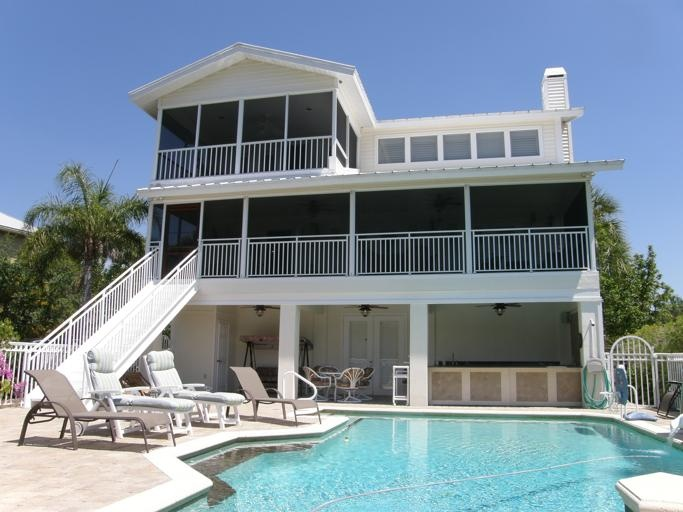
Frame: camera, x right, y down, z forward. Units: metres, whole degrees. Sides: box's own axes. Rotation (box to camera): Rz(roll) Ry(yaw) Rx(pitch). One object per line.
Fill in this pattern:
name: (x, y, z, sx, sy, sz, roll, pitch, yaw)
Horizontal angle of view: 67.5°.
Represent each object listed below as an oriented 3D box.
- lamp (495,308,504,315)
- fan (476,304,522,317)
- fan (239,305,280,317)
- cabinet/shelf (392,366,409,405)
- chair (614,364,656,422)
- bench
lamp: (5.598, 1.970, 18.118, 0.334, 0.130, 0.447, 1, -9, 3)
fan: (5.705, 1.900, 18.195, 1.528, 0.461, 1.602, 3, -7, 1)
fan: (-2.894, 1.992, 18.537, 1.294, 0.392, 2.170, 5, -7, -10)
cabinet/shelf: (1.854, 4.080, 16.184, 0.546, 1.453, 1.666, -1, -8, 9)
chair: (6.929, 3.276, 12.100, 1.022, 1.087, 0.900, 1, -12, 35)
bench: (-2.039, 3.546, 16.544, 2.395, 1.982, 0.839, -2, -10, 11)
